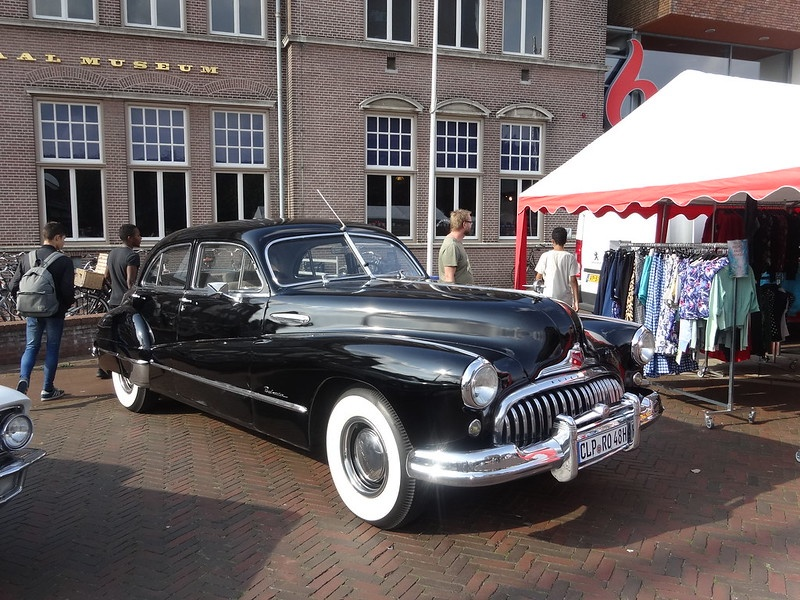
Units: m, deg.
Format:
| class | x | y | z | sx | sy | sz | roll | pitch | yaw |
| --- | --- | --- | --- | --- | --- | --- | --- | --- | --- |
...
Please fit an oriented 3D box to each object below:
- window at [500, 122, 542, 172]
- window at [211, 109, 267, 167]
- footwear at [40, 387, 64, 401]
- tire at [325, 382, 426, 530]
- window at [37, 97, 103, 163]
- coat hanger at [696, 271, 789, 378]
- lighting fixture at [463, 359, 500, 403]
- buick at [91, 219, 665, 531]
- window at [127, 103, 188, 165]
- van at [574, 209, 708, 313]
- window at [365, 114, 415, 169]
| class | x | y | z | sx | sy | sz | roll | pitch | yaw |
| --- | --- | --- | --- | --- | --- | --- | --- | --- | --- |
| window | 3.677 | -4.789 | 19.320 | 1.740 | 1.598 | 0.118 | -1 | 4 | -19 |
| window | -4.553 | -4.526 | 17.265 | 1.827 | 1.638 | 0.082 | -3 | 6 | -31 |
| footwear | -4.392 | 1.198 | 7.938 | 0.123 | 0.133 | 0.316 | 7 | 9 | 39 |
| tire | -0.240 | 1.261 | 4.902 | 0.892 | 1.146 | 0.130 | 10 | 17 | 40 |
| window | -8.492 | -4.384 | 15.853 | 1.852 | 1.686 | 0.094 | -2 | 8 | -23 |
| coat hanger | 3.961 | 0.213 | 7.306 | 0.566 | 1.225 | 1.063 | 9 | 15 | 34 |
| lighting fixture | 0.572 | 0.597 | 4.515 | 0.139 | 0.227 | 0.256 | 5 | 52 | 53 |
| buick | -0.800 | 0.333 | 6.163 | 2.287 | 1.570 | 5.150 | -4 | 7 | -45 |
| window | -6.530 | -4.467 | 16.559 | 1.824 | 1.633 | 0.094 | -2 | 5 | -25 |
| van | 4.841 | -0.869 | 12.273 | 2.735 | 1.413 | 1.596 | -5 | 9 | -34 |
| window | -0.380 | -4.664 | 18.126 | 1.861 | 1.657 | 0.121 | 0 | 2 | -26 |
